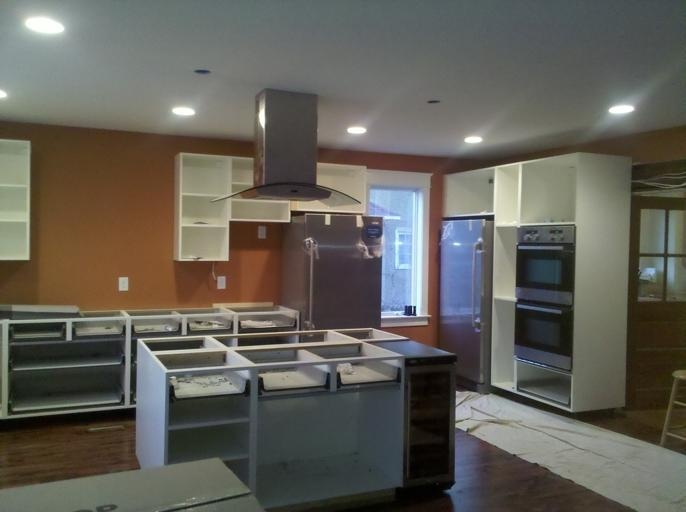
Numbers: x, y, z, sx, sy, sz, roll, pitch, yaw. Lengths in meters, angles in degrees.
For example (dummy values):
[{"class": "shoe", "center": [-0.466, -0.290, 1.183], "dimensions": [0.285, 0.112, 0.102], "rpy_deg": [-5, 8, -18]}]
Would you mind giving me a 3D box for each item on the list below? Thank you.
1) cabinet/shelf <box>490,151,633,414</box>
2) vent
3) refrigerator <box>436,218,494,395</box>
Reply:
[{"class": "cabinet/shelf", "center": [2.267, 0.241, 5.813], "dimensions": [0.770, 2.541, 1.312], "rpy_deg": [-3, 7, -39]}, {"class": "vent", "center": [-0.412, -0.875, 4.421], "dimensions": [0.783, 0.860, 0.414], "rpy_deg": [0, 6, -11]}, {"class": "refrigerator", "center": [1.468, 0.513, 6.568], "dimensions": [0.334, 2.014, 0.827], "rpy_deg": [0, 6, -12]}]
